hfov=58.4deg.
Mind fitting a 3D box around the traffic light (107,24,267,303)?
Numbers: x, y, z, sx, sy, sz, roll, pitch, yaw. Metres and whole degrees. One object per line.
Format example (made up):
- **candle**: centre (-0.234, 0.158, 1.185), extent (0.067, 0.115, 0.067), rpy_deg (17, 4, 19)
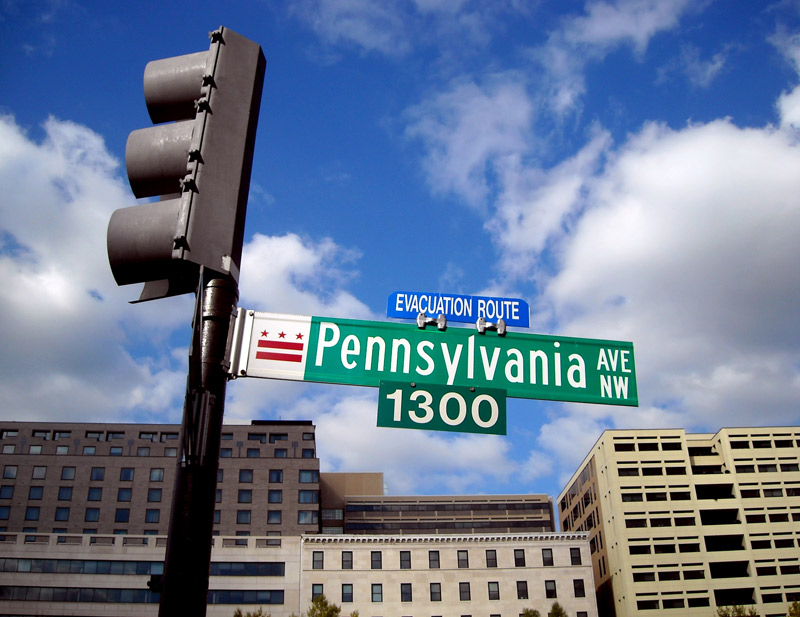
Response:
- **traffic light**: centre (-2.099, -1.599, 7.229), extent (1.260, 2.871, 0.774), rpy_deg (11, -24, -23)
